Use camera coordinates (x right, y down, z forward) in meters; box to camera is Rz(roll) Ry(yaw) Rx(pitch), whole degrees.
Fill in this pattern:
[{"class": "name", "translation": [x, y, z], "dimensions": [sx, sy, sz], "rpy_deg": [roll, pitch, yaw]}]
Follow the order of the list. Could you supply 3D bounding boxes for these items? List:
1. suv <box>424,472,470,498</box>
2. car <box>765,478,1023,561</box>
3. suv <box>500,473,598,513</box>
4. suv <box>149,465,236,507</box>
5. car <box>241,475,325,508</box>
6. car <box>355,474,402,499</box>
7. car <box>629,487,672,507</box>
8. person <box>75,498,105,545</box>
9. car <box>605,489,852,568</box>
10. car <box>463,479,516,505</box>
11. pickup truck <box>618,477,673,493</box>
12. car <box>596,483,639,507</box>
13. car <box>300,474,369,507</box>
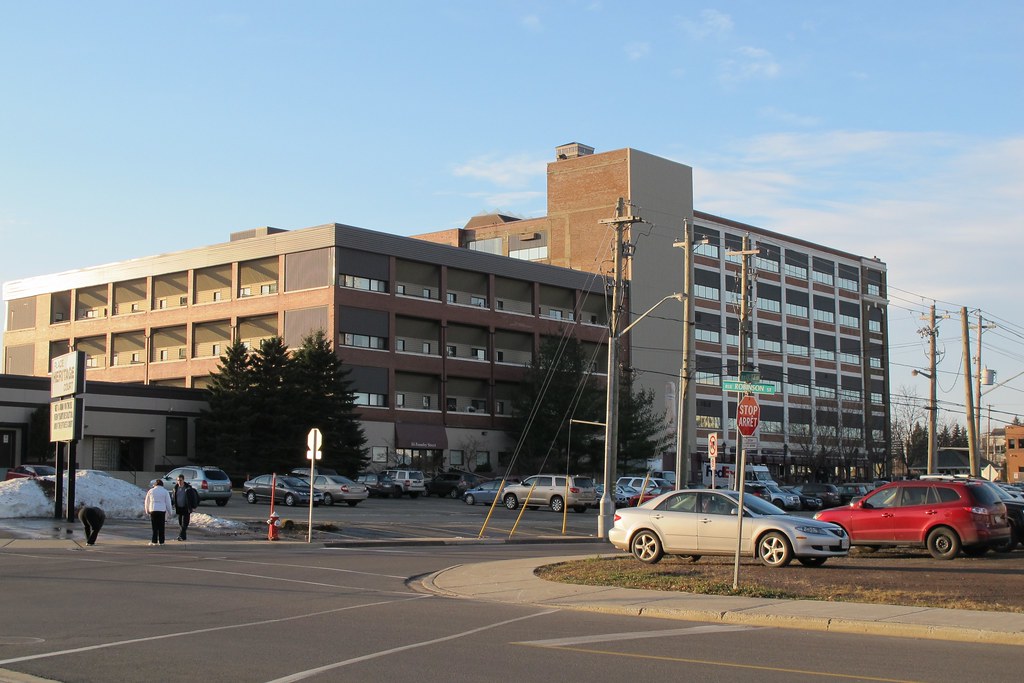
[{"class": "suv", "translation": [-3.873, 8.829, 76.602], "dimensions": [2.595, 0.980, 1.450], "rpy_deg": [2, -2, 27]}, {"class": "car", "translation": [11.781, 5.041, 36.809], "dimensions": [5.534, 1.868, 2.573], "rpy_deg": [0, -4, 31]}, {"class": "suv", "translation": [1.767, 7.456, 61.756], "dimensions": [4.252, 1.345, 2.006], "rpy_deg": [1, -4, 31]}, {"class": "suv", "translation": [-15.788, 6.825, 60.886], "dimensions": [5.243, 1.814, 2.475], "rpy_deg": [2, -1, 41]}, {"class": "car", "translation": [-11.371, 7.487, 62.510], "dimensions": [4.722, 1.341, 1.999], "rpy_deg": [-7, -10, 38]}, {"class": "car", "translation": [-7.980, 8.835, 76.259], "dimensions": [3.097, 0.973, 1.331], "rpy_deg": [3, -7, 5]}, {"class": "car", "translation": [6.823, 7.984, 63.957], "dimensions": [2.717, 1.018, 4.140], "rpy_deg": [-2, -10, 14]}, {"class": "person", "translation": [-13.308, 5.831, 39.671], "dimensions": [0.626, 1.323, 1.970], "rpy_deg": [5, -13, -16]}, {"class": "car", "translation": [5.851, 5.101, 33.963], "dimensions": [6.027, 1.562, 2.319], "rpy_deg": [-4, -8, 21]}, {"class": "car", "translation": [-1.473, 8.069, 66.410], "dimensions": [2.893, 1.223, 1.671], "rpy_deg": [0, -4, 34]}, {"class": "pickup truck", "translation": [7.382, 7.912, 69.135], "dimensions": [2.847, 0.904, 1.357], "rpy_deg": [-3, -2, 11]}, {"class": "car", "translation": [5.996, 8.237, 66.241], "dimensions": [3.148, 1.165, 1.893], "rpy_deg": [-3, -4, 15]}, {"class": "car", "translation": [-8.627, 7.471, 62.448], "dimensions": [3.030, 0.828, 1.279], "rpy_deg": [2, -2, 36]}]
